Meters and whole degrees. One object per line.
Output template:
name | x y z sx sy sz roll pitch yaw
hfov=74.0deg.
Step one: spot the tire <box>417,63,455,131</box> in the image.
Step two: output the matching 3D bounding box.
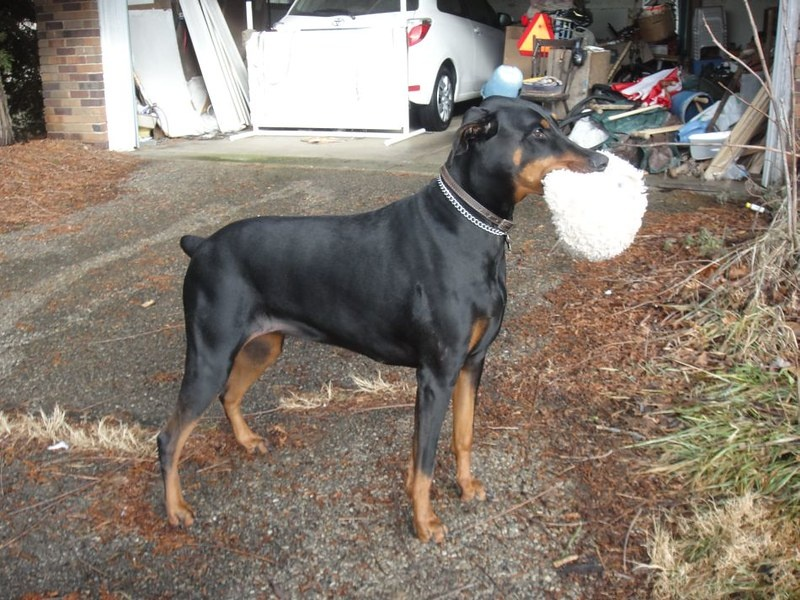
tire | 0.635 -3.122 8.182 0.274 0.916 0.907 6 36 24
